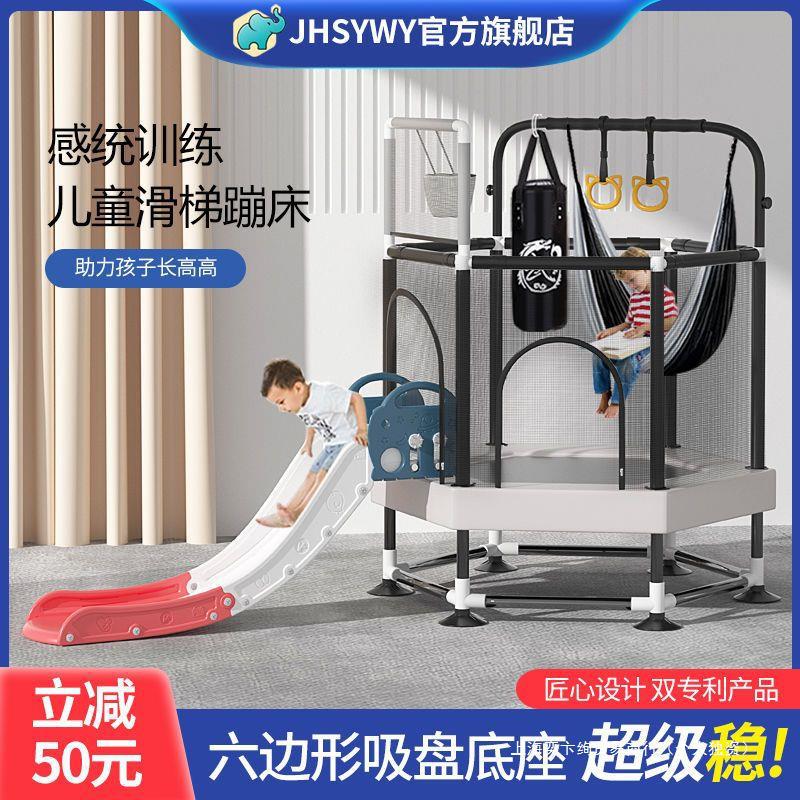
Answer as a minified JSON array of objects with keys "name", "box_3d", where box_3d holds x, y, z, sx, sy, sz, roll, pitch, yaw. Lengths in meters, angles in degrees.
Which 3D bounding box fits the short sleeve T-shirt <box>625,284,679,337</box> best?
[{"name":"short sleeve T-shirt","box_3d":[0.760,-0.273,3.133,0.173,0.161,0.091,-2,-8,44]}]

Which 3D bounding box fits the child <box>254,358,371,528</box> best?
[{"name":"child","box_3d":[-0.296,0.126,3.225,0.329,0.536,0.306,-6,16,-24]}]

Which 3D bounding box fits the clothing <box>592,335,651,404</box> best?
[{"name":"clothing","box_3d":[0.726,-0.113,3.365,0.167,0.200,0.223,4,15,20]}]
